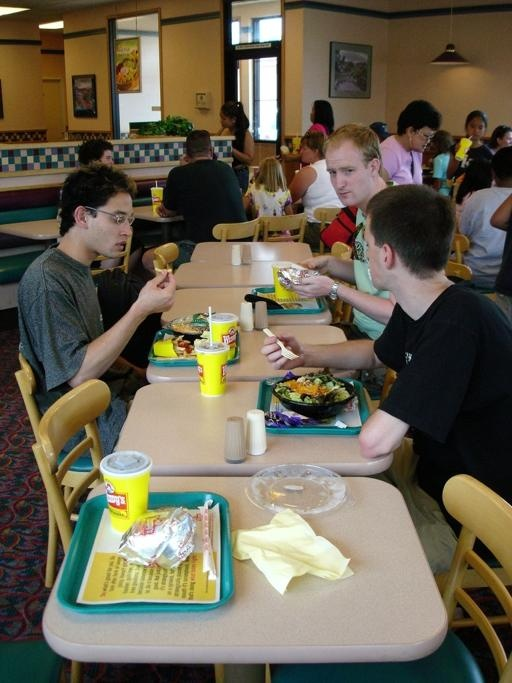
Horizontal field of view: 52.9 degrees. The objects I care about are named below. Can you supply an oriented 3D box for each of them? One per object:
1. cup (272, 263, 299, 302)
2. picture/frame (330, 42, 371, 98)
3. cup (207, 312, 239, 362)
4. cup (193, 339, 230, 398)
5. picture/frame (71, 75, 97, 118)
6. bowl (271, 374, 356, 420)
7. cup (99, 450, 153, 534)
[{"bbox_3d":[0.113,-0.240,2.247,0.160,0.183,0.145,-2,28,0],"label":"cup"},{"bbox_3d":[1.774,-5.108,9.715,1.177,0.931,0.035,-17,26,-34],"label":"picture/frame"},{"bbox_3d":[-0.101,-0.021,1.714,0.142,0.185,0.139,-2,19,1],"label":"cup"},{"bbox_3d":[-0.120,0.069,1.467,0.141,0.184,0.138,0,15,0],"label":"cup"},{"bbox_3d":[-3.900,-5.652,11.771,0.078,1.030,0.939,-14,25,-43],"label":"picture/frame"},{"bbox_3d":[0.149,0.141,1.392,0.193,0.066,0.192,0,24,0],"label":"bowl"},{"bbox_3d":[-0.219,0.246,0.876,0.078,0.139,0.190,-4,15,-16],"label":"cup"}]
